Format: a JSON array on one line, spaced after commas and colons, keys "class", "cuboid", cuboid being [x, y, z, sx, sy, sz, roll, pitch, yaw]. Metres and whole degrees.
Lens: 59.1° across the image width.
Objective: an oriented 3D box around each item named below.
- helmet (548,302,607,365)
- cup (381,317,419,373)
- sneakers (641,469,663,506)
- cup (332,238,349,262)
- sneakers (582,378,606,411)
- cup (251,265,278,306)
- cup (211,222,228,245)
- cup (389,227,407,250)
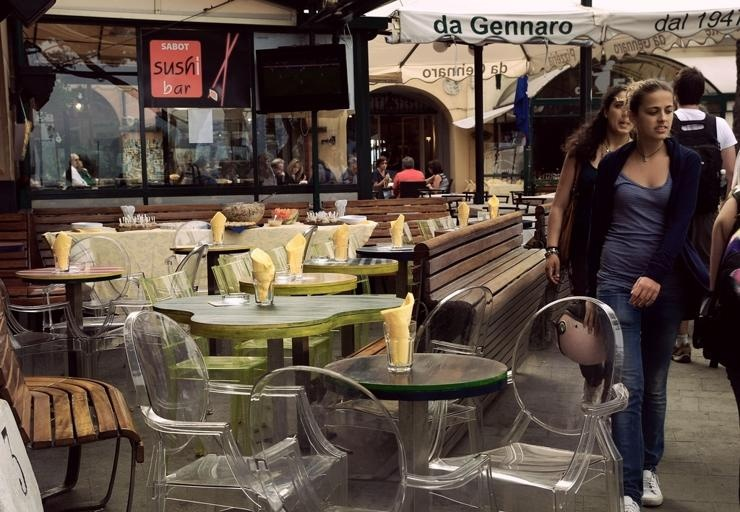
[{"class": "helmet", "cuboid": [1.027, 0.371, 3.210, 0.209, 0.282, 0.259, 0, 1, -5]}, {"class": "cup", "cuboid": [0.138, 0.411, 2.997, 0.137, 0.217, 0.125, -1, 9, 0]}, {"class": "sneakers", "cuboid": [1.712, 1.418, 3.966, 0.099, 0.116, 0.280, -5, -9, 16]}, {"class": "cup", "cuboid": [-0.278, -0.060, 6.318, 0.127, 0.202, 0.176, -2, 10, -3]}, {"class": "sneakers", "cuboid": [1.056, 0.661, 3.101, 0.116, 0.107, 0.199, -4, 6, 16]}, {"class": "cup", "cuboid": [-0.710, 0.190, 4.401, 0.129, 0.268, 0.210, -3, 10, -10]}, {"class": "cup", "cuboid": [-1.890, -0.291, 8.151, 0.251, 0.308, 0.263, -2, 8, 0]}, {"class": "cup", "cuboid": [0.333, -0.203, 7.076, 0.200, 0.229, 0.198, 0, 4, 0]}]
